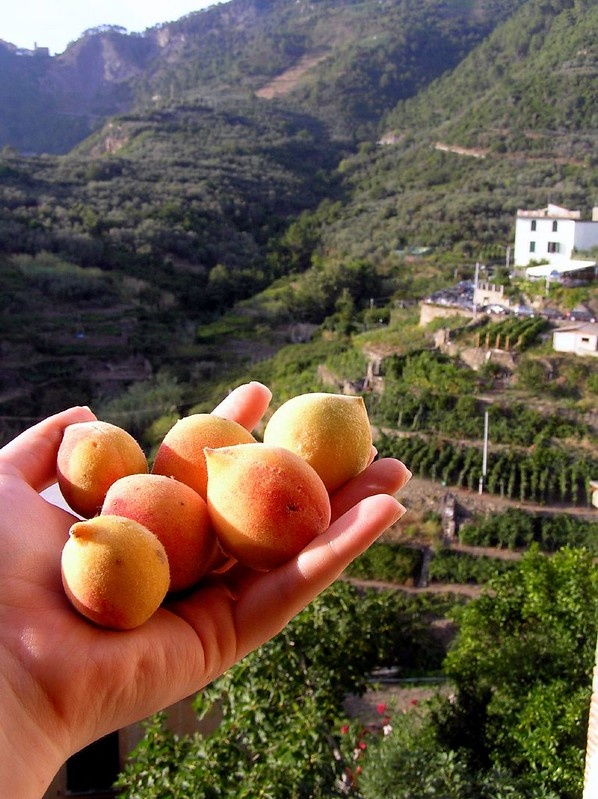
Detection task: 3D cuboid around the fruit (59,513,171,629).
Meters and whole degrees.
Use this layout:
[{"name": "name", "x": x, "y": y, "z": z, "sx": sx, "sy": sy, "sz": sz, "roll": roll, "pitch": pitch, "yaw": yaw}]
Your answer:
[{"name": "fruit", "x": -0.189, "y": 0.179, "z": 0.722, "sx": 0.093, "sy": 0.120, "sz": 0.045, "roll": 0, "pitch": 11, "yaw": 1}]

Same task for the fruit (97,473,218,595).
[{"name": "fruit", "x": -0.145, "y": 0.145, "z": 0.885, "sx": 0.136, "sy": 0.148, "sz": 0.125, "roll": -28, "pitch": 13, "yaw": -35}]

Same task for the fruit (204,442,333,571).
[{"name": "fruit", "x": -0.034, "y": 0.130, "z": 0.826, "sx": 0.130, "sy": 0.131, "sz": 0.167, "roll": -21, "pitch": -24, "yaw": 20}]

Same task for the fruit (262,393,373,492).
[{"name": "fruit", "x": 0.035, "y": 0.045, "z": 0.938, "sx": 0.146, "sy": 0.110, "sz": 0.108, "roll": -24, "pitch": -28, "yaw": -11}]

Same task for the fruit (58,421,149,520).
[{"name": "fruit", "x": -0.246, "y": 0.088, "z": 0.897, "sx": 0.099, "sy": 0.119, "sz": 0.099, "roll": -31, "pitch": 1, "yaw": -27}]
